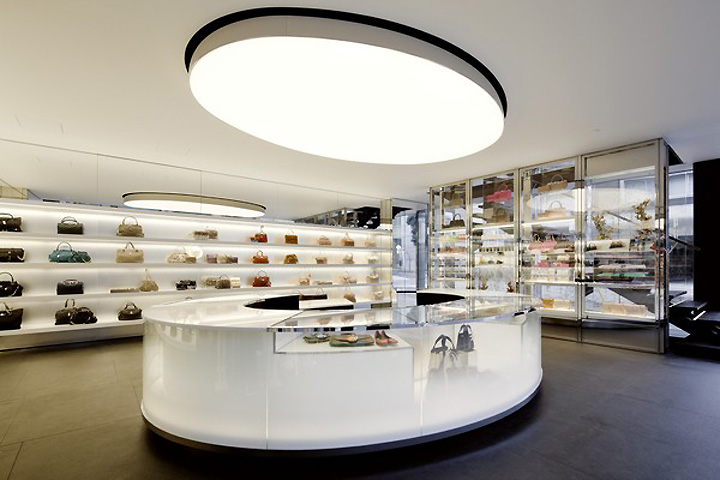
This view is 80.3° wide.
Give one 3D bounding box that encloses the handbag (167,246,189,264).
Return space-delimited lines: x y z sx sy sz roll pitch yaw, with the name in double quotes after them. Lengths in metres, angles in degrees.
-3.913 0.348 9.210 0.258 0.390 0.402 -1 -6 12 "handbag"

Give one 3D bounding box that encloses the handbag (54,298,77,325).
-5.591 1.370 8.097 0.263 0.444 0.485 -8 -10 40 "handbag"

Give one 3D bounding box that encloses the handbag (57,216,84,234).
-5.605 -0.286 8.248 0.362 0.309 0.147 2 -8 -32 "handbag"

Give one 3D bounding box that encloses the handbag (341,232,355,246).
-0.297 -0.005 11.659 0.353 0.341 0.341 0 1 -37 "handbag"

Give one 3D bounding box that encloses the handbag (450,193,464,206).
2.432 -1.000 10.587 0.275 0.260 0.283 7 -10 -43 "handbag"

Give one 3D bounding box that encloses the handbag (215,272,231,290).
-3.030 0.958 9.502 0.276 0.253 0.258 3 -5 -39 "handbag"

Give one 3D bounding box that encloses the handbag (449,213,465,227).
2.433 -0.502 10.605 0.157 0.328 0.367 -2 0 -38 "handbag"

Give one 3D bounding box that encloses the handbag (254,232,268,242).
-2.329 -0.042 10.154 0.329 0.223 0.209 2 -5 -31 "handbag"

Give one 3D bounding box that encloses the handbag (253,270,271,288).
-2.332 0.919 10.093 0.402 0.333 0.169 5 -14 -29 "handbag"

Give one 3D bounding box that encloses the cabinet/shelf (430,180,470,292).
2.243 -0.085 10.769 0.507 2.681 1.494 -7 13 -31 "cabinet/shelf"

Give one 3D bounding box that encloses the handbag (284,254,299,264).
-1.697 0.465 10.475 0.268 0.234 0.260 0 -2 -8 "handbag"

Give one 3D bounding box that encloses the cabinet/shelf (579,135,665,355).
4.966 0.081 8.029 1.483 3.870 0.887 5 12 27 "cabinet/shelf"

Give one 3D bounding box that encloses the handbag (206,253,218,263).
-3.300 0.409 9.571 0.203 0.134 0.202 2 1 25 "handbag"

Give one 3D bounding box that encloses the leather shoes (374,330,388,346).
0.240 1.094 4.734 0.110 0.069 0.184 0 -6 -21 "leather shoes"

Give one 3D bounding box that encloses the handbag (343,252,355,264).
-0.234 0.506 11.507 0.229 0.297 0.308 -8 -15 42 "handbag"

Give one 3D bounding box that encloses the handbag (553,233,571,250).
4.209 0.039 8.825 0.088 0.285 0.317 1 1 -32 "handbag"

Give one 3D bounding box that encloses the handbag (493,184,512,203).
3.266 -1.067 9.723 0.212 0.423 0.489 0 0 -30 "handbag"

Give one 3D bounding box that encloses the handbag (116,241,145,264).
-4.725 0.261 8.740 0.435 0.377 0.154 4 -13 -31 "handbag"

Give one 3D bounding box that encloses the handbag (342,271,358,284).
-0.268 1.044 11.528 0.267 0.362 0.413 1 -7 -11 "handbag"

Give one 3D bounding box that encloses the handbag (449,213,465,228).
2.431 -0.498 10.607 0.159 0.335 0.373 -2 0 -38 "handbag"

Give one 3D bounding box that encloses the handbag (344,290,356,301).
-0.219 1.500 11.393 0.302 0.255 0.220 -10 6 13 "handbag"

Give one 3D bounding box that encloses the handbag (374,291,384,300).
0.539 1.557 11.923 0.226 0.192 0.230 2 1 -32 "handbag"

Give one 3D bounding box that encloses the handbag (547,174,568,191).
4.105 -1.198 8.863 0.076 0.337 0.387 -9 14 -39 "handbag"

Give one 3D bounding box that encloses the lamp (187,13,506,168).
-0.181 -2.051 5.858 4.005 1.425 1.802 -4 11 -19 "lamp"

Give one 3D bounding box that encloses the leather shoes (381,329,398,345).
0.321 1.093 4.742 0.093 0.096 0.248 1 -3 -35 "leather shoes"

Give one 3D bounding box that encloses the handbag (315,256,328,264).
-0.992 0.529 11.045 0.272 0.174 0.161 2 -3 -9 "handbag"

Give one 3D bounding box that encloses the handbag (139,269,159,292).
-4.365 0.859 8.849 0.420 0.434 0.403 -5 -5 27 "handbag"

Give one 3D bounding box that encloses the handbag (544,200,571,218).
4.089 -0.602 8.937 0.601 0.479 0.294 2 4 43 "handbag"

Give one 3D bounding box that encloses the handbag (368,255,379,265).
0.387 0.557 12.065 0.276 0.241 0.266 1 -6 -2 "handbag"

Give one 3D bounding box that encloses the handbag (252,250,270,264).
-2.356 0.459 10.235 0.456 0.383 0.264 2 -9 -20 "handbag"

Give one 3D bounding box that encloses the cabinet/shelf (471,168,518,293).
3.077 -0.197 9.899 0.438 2.701 1.370 -8 13 -36 "cabinet/shelf"

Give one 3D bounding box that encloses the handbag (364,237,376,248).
0.294 0.090 12.142 0.291 0.277 0.173 9 -14 -30 "handbag"

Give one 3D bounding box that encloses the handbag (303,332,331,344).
-0.476 1.077 4.702 0.293 0.116 0.043 0 11 -1 "handbag"

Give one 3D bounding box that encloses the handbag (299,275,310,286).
-1.352 1.011 10.646 0.188 0.235 0.251 -13 -27 23 "handbag"

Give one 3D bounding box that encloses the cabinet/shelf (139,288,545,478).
-0.239 1.529 5.299 4.778 1.473 1.631 -3 11 -16 "cabinet/shelf"

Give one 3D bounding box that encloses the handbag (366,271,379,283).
0.379 1.025 12.004 0.338 0.278 0.318 1 -12 5 "handbag"

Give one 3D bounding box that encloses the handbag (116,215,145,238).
-4.741 -0.276 8.768 0.464 0.419 0.199 3 -9 -36 "handbag"

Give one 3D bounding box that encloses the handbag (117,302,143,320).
-4.622 1.441 8.585 0.424 0.331 0.263 -6 12 -28 "handbag"

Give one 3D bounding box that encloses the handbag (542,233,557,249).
4.000 0.020 9.010 0.195 0.320 0.080 -5 -14 38 "handbag"

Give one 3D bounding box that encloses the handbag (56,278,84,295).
-5.546 0.905 8.203 0.428 0.283 0.215 -7 12 -32 "handbag"

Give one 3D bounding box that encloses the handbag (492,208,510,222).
3.247 -0.561 9.711 0.078 0.331 0.482 -8 13 -36 "handbag"
